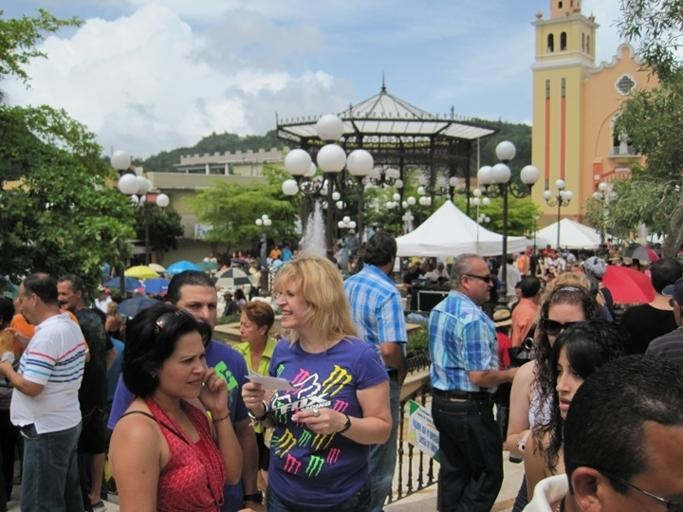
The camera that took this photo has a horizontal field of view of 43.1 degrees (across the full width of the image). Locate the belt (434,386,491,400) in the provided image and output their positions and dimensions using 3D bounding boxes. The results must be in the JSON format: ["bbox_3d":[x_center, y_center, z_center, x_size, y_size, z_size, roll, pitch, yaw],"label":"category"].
[{"bbox_3d":[1.087,1.263,7.968,0.525,0.111,0.193,-1,3,23],"label":"belt"}]
